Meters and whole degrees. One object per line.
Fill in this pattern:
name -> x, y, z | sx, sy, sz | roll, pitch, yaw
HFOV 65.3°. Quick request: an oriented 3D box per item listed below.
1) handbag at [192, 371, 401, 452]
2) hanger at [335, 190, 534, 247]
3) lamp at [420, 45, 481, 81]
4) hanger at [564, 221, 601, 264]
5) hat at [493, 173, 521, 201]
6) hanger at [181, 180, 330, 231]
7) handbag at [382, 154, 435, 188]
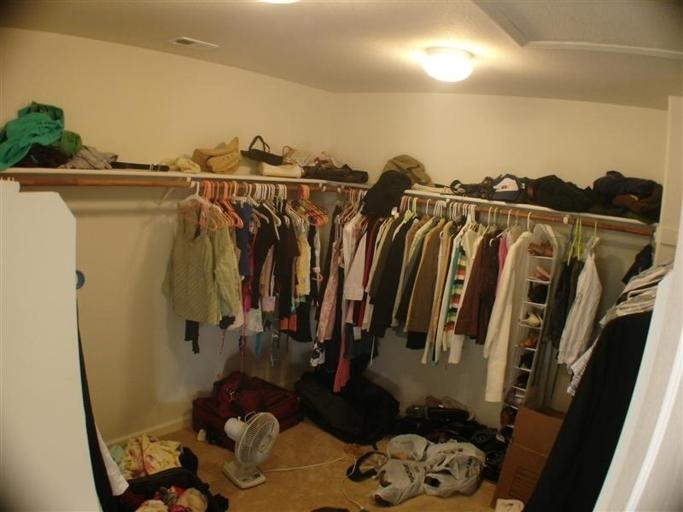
handbag -> -0.287, 1.117, 3.983 | 0.799, 0.247, 0.793 | -3, 8, -42
hanger -> 0.841, -0.324, 3.673 | 0.932, 0.205, 0.442 | 7, 9, 19
lamp -> 0.529, -0.949, 2.637 | 0.260, 0.114, 0.257 | 5, 8, 9
hanger -> 1.463, -0.090, 3.243 | 0.178, 0.258, 0.227 | 8, 10, 25
hat -> 1.052, -0.439, 3.454 | 0.147, 0.173, 0.212 | -3, 11, -40
hanger -> -0.566, -0.331, 3.876 | 0.339, 0.443, 1.198 | 2, -1, 44
handbag -> 0.503, -0.640, 3.958 | 0.235, 0.103, 0.311 | 15, 3, 18
